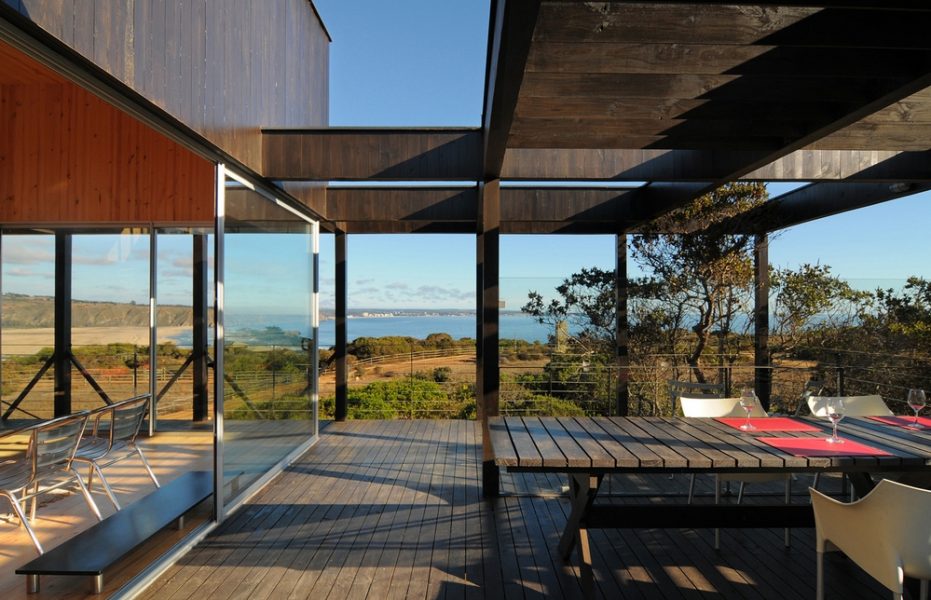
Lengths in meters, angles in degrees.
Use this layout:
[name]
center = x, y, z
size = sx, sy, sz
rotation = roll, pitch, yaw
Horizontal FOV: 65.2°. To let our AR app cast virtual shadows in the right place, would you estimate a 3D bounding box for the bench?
[bench]
center = -2.980, 2.065, 6.481
size = 0.664, 0.481, 1.659
rotation = 8, 15, 29
